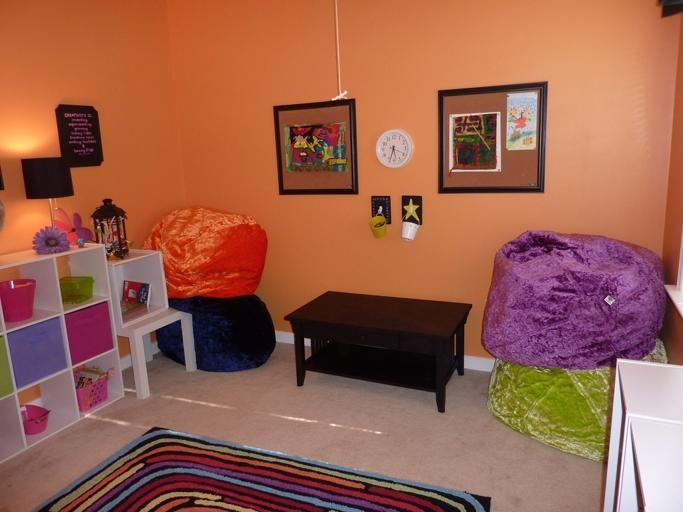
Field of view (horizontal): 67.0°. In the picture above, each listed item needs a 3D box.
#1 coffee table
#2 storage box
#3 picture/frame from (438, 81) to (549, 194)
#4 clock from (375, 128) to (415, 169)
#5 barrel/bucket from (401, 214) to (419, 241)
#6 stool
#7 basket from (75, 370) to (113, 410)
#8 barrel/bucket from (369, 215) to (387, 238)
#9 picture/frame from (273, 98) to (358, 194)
[{"bbox_3d":[0.308,0.707,4.050,1.263,0.604,0.715,5,16,23],"label":"coffee table"},{"bbox_3d":[-1.604,0.268,4.088,0.344,0.484,0.488,9,16,30],"label":"storage box"},{"bbox_3d":[1.158,-0.907,3.842,0.793,0.843,0.046,3,7,22],"label":"picture/frame"},{"bbox_3d":[0.424,-0.862,4.210,0.285,0.304,0.278,0,-4,3],"label":"clock"},{"bbox_3d":[0.543,-0.221,4.114,0.132,0.115,0.146,17,-8,10],"label":"barrel/bucket"},{"bbox_3d":[-1.494,0.783,4.151,0.306,0.552,0.576,6,15,23],"label":"stool"},{"bbox_3d":[-1.855,0.998,3.881,0.266,0.273,0.223,4,5,24],"label":"basket"},{"bbox_3d":[0.322,-0.238,4.286,0.146,0.149,0.170,-5,35,17],"label":"barrel/bucket"},{"bbox_3d":[-0.197,-0.959,4.393,0.770,0.822,0.057,4,17,22],"label":"picture/frame"}]
